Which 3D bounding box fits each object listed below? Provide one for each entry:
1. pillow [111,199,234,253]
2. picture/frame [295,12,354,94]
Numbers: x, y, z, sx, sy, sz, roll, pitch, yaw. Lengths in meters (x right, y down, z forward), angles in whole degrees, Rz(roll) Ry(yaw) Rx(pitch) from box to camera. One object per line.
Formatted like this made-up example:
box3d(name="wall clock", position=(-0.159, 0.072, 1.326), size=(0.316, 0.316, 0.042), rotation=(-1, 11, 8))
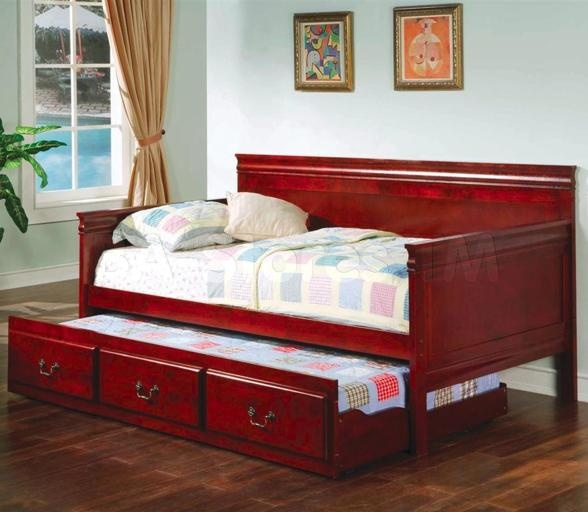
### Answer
box3d(name="pillow", position=(-0.590, -0.163, 2.900), size=(0.385, 0.118, 0.375), rotation=(-13, 22, -33))
box3d(name="picture/frame", position=(0.165, -1.074, 2.866), size=(0.444, 0.458, 0.037), rotation=(6, 13, 37))
